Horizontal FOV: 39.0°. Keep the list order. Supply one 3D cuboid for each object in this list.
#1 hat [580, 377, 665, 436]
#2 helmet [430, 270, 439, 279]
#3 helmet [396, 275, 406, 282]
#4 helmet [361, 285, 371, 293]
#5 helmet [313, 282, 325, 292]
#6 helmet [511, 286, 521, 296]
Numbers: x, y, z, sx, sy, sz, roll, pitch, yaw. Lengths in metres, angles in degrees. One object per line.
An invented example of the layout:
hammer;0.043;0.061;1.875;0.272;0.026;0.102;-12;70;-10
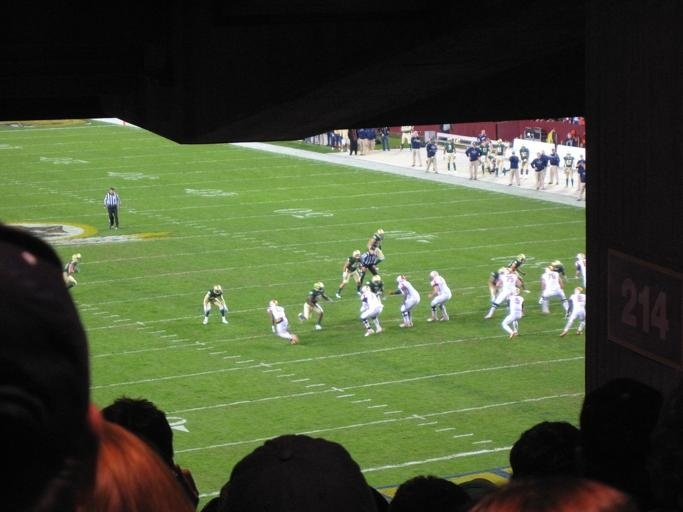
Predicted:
hat;0.973;0.547;3.506;0.390;0.132;0.235;-11;12;9
helmet;1.815;0.400;18.951;0.233;0.179;0.144;-2;42;-3
helmet;1.109;0.444;18.664;0.186;0.072;0.201;2;-2;5
helmet;0.400;0.636;18.294;0.204;0.086;0.190;14;1;11
helmet;-0.390;0.595;18.461;0.229;0.178;0.256;-2;-9;-20
helmet;3.215;0.677;18.173;0.283;0.186;0.191;2;-2;19
